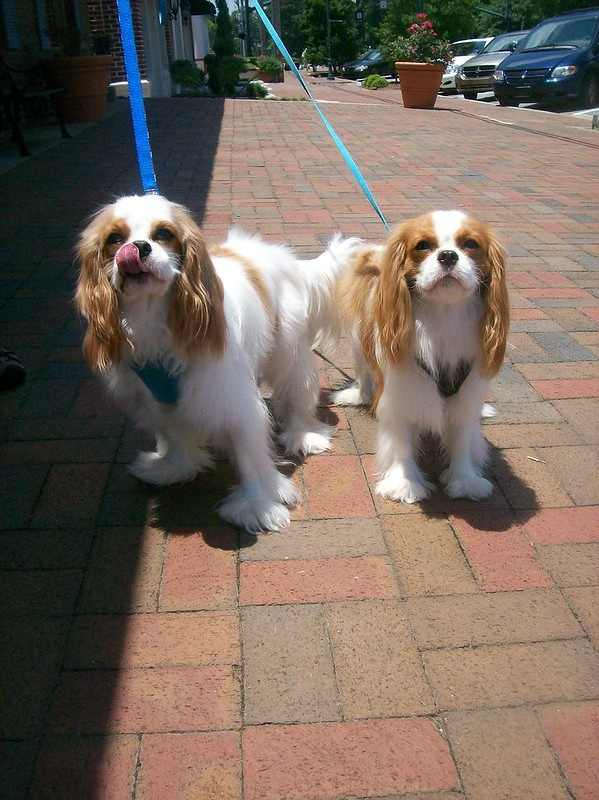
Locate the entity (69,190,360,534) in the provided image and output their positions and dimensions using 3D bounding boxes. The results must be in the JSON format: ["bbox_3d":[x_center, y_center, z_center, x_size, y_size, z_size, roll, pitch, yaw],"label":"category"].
[{"bbox_3d":[-0.283,-0.227,2.553,0.668,1.205,1.163,4,30,13],"label":"entity"}]

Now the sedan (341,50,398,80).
[{"bbox_3d":[3.535,-17.377,34.750,2.629,1.236,4.858,0,27,6],"label":"sedan"}]

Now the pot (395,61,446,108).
[{"bbox_3d":[2.794,-7.357,15.636,1.215,0.779,1.071,-2,30,-1],"label":"pot"}]
